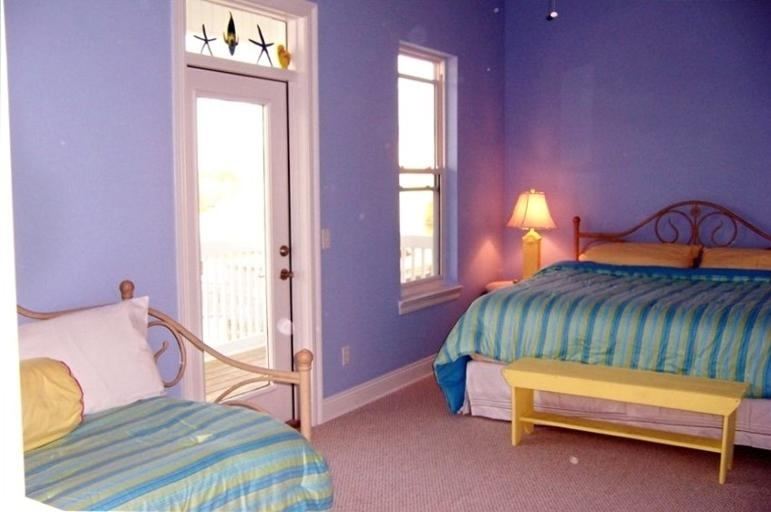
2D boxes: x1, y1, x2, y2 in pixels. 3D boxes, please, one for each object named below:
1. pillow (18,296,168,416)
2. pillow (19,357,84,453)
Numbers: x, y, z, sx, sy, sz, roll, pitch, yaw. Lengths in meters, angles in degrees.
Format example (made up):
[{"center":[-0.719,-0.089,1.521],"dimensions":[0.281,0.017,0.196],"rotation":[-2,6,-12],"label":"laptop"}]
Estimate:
[{"center":[-1.341,0.457,2.635],"dimensions":[0.541,0.514,0.156],"rotation":[-7,-12,-40],"label":"pillow"},{"center":[-1.410,0.605,2.364],"dimensions":[0.209,0.326,0.232],"rotation":[-6,11,-24],"label":"pillow"}]
